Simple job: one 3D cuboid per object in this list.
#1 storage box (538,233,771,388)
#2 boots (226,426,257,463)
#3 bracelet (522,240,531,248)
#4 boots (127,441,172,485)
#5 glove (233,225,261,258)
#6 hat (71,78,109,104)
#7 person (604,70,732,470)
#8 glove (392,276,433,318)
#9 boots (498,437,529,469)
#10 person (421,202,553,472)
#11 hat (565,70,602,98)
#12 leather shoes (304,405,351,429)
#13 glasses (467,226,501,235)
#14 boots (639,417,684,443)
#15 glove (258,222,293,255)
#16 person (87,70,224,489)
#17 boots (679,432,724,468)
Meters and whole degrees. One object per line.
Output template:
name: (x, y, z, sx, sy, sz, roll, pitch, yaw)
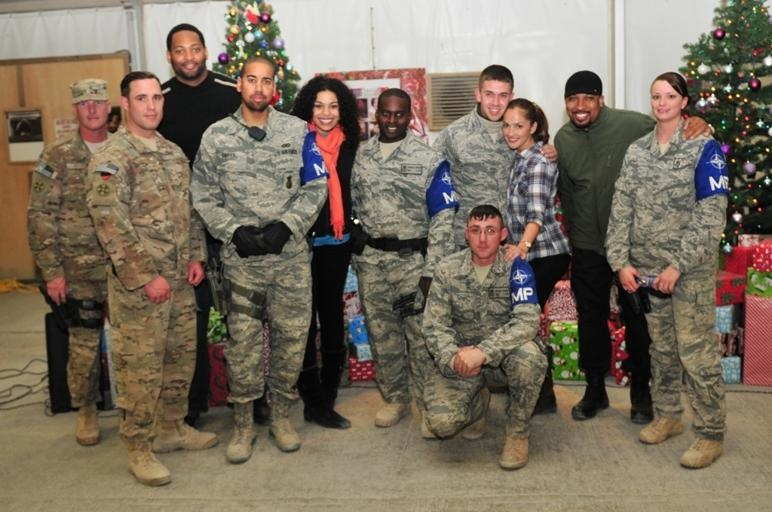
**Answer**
storage box: (2.529, 0.704, 6.940, 2.780, 1.542, 1.384, -1, -4, 5)
boots: (-1.155, 1.484, 5.440, 0.177, 0.240, 0.254, 6, 14, 30)
bracelet: (1.143, -0.099, 5.552, 0.056, 0.023, 0.064, 23, -5, -7)
boots: (-1.841, 1.581, 5.280, 0.501, 0.280, 0.189, 0, 3, 42)
glove: (-1.088, -0.115, 5.241, 0.257, 0.219, 0.095, 5, 6, 2)
hat: (-2.475, -1.366, 5.660, 0.244, 0.129, 0.271, -9, 10, -21)
person: (2.237, 0.068, 5.251, 0.621, 2.883, 1.000, -9, 15, -31)
glove: (0.221, 0.364, 5.607, 0.269, 0.349, 0.134, 12, -25, 48)
boots: (0.986, 1.478, 5.203, 0.248, 0.239, 0.146, -3, 13, -7)
person: (0.752, 0.596, 5.303, 0.946, 1.935, 0.740, -1, 13, 2)
hat: (1.627, -1.428, 5.649, 0.220, 0.143, 0.260, -10, 19, -15)
leather shoes: (-0.515, 1.389, 5.969, 0.449, 0.166, 0.150, 2, 2, 21)
glasses: (0.761, -0.204, 5.287, 0.228, 0.065, 0.054, 0, 12, 6)
boots: (2.185, 1.373, 5.433, 0.443, 0.158, 0.150, -5, 7, -26)
glove: (-0.864, -0.150, 5.269, 0.267, 0.250, 0.110, 34, 4, -8)
person: (-1.833, 0.132, 5.290, 0.727, 3.053, 1.007, 1, 13, 11)
boots: (2.440, 1.459, 5.215, 0.462, 0.167, 0.147, -7, 6, -36)
